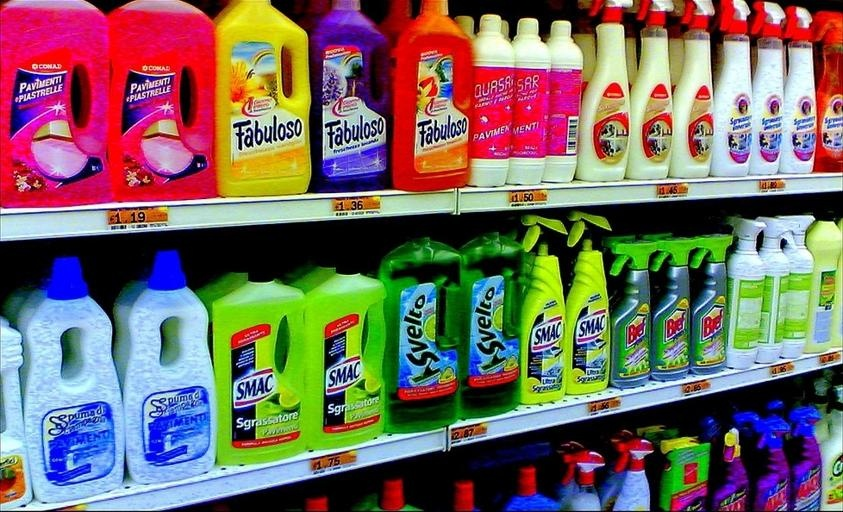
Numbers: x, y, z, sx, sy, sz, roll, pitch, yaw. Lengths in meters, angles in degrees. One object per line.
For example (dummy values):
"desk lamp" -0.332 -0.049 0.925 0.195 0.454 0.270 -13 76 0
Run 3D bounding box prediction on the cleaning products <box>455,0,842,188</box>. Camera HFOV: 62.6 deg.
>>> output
"cleaning products" 1.027 -0.587 2.405 1.119 0.634 0.354 -4 6 -3
